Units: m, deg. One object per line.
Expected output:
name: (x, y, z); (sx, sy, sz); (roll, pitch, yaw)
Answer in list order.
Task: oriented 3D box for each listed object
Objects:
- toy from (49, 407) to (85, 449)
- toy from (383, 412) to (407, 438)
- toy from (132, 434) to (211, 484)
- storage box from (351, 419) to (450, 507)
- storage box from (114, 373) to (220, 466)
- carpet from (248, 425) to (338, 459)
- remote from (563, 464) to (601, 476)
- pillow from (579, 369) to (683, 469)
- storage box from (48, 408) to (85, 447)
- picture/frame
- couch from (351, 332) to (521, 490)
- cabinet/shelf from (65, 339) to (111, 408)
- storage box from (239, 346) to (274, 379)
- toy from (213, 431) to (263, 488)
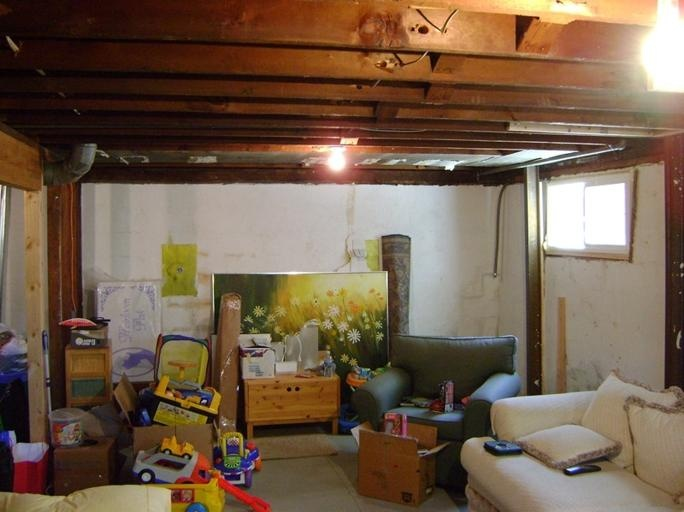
toy: (-2.061, 1.268, 4.378); (0.256, 0.254, 0.251); (-1, 4, -36)
toy: (0.411, 1.321, 4.508); (0.155, 0.145, 0.059); (-4, -15, 24)
toy: (-1.183, 1.435, 4.116); (0.493, 0.219, 0.291); (5, -7, -7)
storage box: (0.466, 1.553, 4.516); (0.881, 0.588, 0.487); (2, 2, 34)
storage box: (-1.369, 1.295, 4.608); (0.844, 0.572, 0.536); (1, -3, -9)
carpet: (-0.436, 1.731, 5.355); (0.799, 0.113, 0.638); (-1, -4, -5)
remote: (1.508, 1.344, 3.658); (0.178, 0.031, 0.086); (-2, -2, -17)
pillow: (1.954, 1.064, 3.978); (0.161, 0.505, 0.516); (14, 13, -29)
storage box: (-2.034, 1.280, 4.363); (0.255, 0.250, 0.248); (0, 3, -19)
picture/frame: (-0.489, 0.726, 5.788); (1.207, 0.784, 0.023); (-1, 2, -11)
couch: (0.781, 1.089, 5.121); (1.446, 1.305, 1.156); (-2, -7, 30)
cabinet/shelf: (-2.209, 1.089, 4.962); (0.442, 0.551, 0.413); (3, -15, -30)
storage box: (-0.782, 1.001, 5.422); (0.298, 0.236, 0.293); (2, -6, -19)
toy: (-0.836, 1.608, 4.627); (0.273, 0.290, 0.452); (1, -8, -5)
